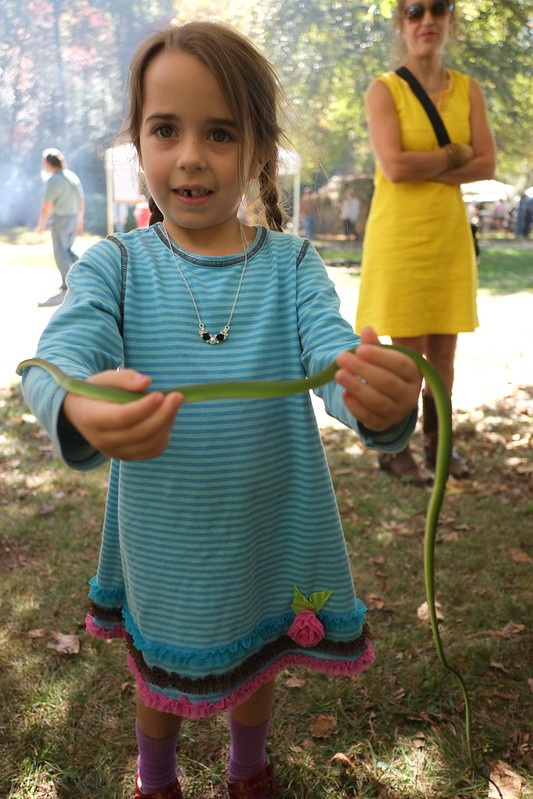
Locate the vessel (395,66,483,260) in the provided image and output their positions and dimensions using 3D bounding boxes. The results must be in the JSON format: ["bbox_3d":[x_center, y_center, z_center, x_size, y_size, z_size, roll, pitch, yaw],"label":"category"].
[{"bbox_3d":[0.911,-1.289,3.667,0.184,1.100,0.127,-9,-6,-43],"label":"vessel"}]

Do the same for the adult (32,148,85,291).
[{"bbox_3d":[-3.337,-2.869,11.115,1.018,2.285,0.977,-12,27,-30],"label":"adult"}]

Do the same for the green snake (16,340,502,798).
[{"bbox_3d":[-0.017,0.604,2.072,1.785,1.181,0.133,2,16,6],"label":"green snake"}]
